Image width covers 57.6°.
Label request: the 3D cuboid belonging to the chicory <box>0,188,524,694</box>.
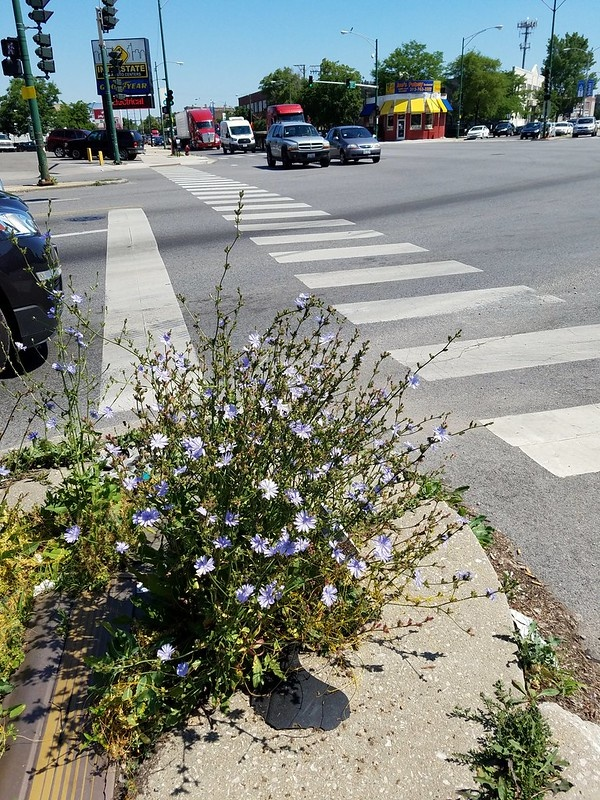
[{"bbox_3d":[-0.185,0.235,3.323,2.401,1.033,3.287,-6,45,-6],"label":"chicory"}]

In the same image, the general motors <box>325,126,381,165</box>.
[{"bbox_3d":[2.939,-14.127,30.027,1.867,1.597,3.345,-9,31,-14],"label":"general motors"}]

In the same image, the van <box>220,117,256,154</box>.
[{"bbox_3d":[-6.206,-25.261,52.023,2.231,3.365,4.425,-10,22,-25],"label":"van"}]

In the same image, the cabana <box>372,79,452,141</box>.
[{"bbox_3d":[15.121,-39.814,74.875,8.656,7.378,4.382,3,20,10],"label":"cabana"}]

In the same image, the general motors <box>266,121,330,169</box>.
[{"bbox_3d":[-0.218,-13.760,29.197,1.936,2.424,3.941,-10,22,-24],"label":"general motors"}]
